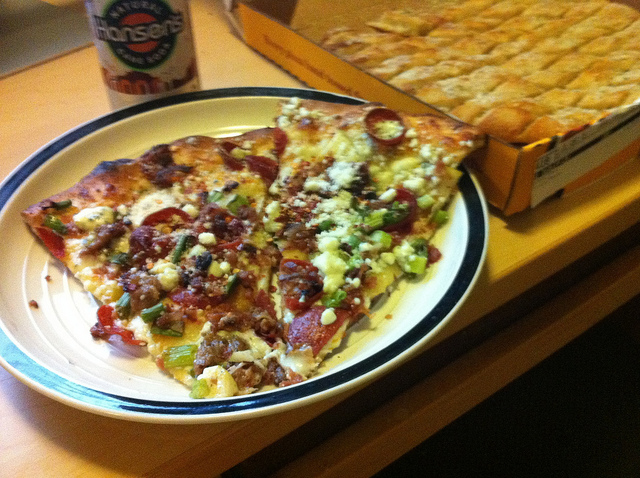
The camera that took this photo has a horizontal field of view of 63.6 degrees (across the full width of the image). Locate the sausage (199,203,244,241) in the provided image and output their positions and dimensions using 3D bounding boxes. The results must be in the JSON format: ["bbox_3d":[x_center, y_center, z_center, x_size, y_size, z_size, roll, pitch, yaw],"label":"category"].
[{"bbox_3d":[-0.241,-0.033,1.249,0.077,0.026,0.106,-34,70,-31],"label":"sausage"}]

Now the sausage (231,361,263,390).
[{"bbox_3d":[-0.145,0.274,1.032,0.052,0.020,0.051,-32,49,-33],"label":"sausage"}]

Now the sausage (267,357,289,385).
[{"bbox_3d":[-0.088,0.270,1.051,0.036,0.011,0.046,-19,60,-15],"label":"sausage"}]

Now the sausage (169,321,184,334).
[{"bbox_3d":[-0.309,0.188,1.109,0.028,0.009,0.025,10,64,3],"label":"sausage"}]

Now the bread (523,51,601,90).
[{"bbox_3d":[0.734,-0.500,1.544,0.221,0.021,0.092,-27,51,-21],"label":"bread"}]

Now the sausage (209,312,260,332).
[{"bbox_3d":[-0.185,0.181,1.112,0.104,0.023,0.038,-5,65,-5],"label":"sausage"}]

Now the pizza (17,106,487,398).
[{"bbox_3d":[-0.162,-0.069,1.238,0.835,0.149,0.901,33,67,14],"label":"pizza"}]

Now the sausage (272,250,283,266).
[{"bbox_3d":[-0.095,0.046,1.228,0.035,0.006,0.029,2,59,-13],"label":"sausage"}]

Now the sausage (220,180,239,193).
[{"bbox_3d":[-0.228,-0.133,1.309,0.038,0.013,0.037,25,53,27],"label":"sausage"}]

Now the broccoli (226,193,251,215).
[{"bbox_3d":[-0.201,-0.087,1.273,0.057,0.015,0.051,40,69,-1],"label":"broccoli"}]

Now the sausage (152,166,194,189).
[{"bbox_3d":[-0.379,-0.158,1.329,0.080,0.011,0.063,-10,43,1],"label":"sausage"}]

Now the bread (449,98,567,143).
[{"bbox_3d":[0.500,-0.315,1.382,0.255,0.039,0.150,17,44,14],"label":"bread"}]

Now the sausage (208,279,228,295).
[{"bbox_3d":[-0.226,0.108,1.147,0.039,0.009,0.031,1,40,-15],"label":"sausage"}]

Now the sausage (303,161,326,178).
[{"bbox_3d":[-0.010,-0.179,1.339,0.058,0.009,0.037,-23,55,-7],"label":"sausage"}]

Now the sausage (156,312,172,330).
[{"bbox_3d":[-0.335,0.178,1.104,0.030,0.008,0.032,26,57,10],"label":"sausage"}]

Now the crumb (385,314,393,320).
[{"bbox_3d":[0.156,0.172,1.142,0.014,0.005,0.015,37,68,15],"label":"crumb"}]

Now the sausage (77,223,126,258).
[{"bbox_3d":[-0.508,0.001,1.212,0.106,0.026,0.061,-40,70,-13],"label":"sausage"}]

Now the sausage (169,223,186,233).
[{"bbox_3d":[-0.351,-0.026,1.244,0.027,0.006,0.025,-30,43,-31],"label":"sausage"}]

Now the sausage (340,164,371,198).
[{"bbox_3d":[0.096,-0.144,1.291,0.058,0.020,0.084,38,76,19],"label":"sausage"}]

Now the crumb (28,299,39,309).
[{"bbox_3d":[-0.633,0.144,1.133,0.021,0.005,0.017,25,36,-3],"label":"crumb"}]

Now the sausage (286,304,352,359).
[{"bbox_3d":[-0.012,0.187,1.105,0.095,0.030,0.130,30,66,12],"label":"sausage"}]

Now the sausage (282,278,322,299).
[{"bbox_3d":[-0.042,0.110,1.147,0.065,0.012,0.050,17,48,24],"label":"sausage"}]

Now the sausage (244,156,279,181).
[{"bbox_3d":[-0.152,-0.188,1.374,0.095,0.019,0.050,24,69,3],"label":"sausage"}]

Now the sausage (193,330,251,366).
[{"bbox_3d":[-0.203,0.228,1.078,0.107,0.027,0.077,2,64,-1],"label":"sausage"}]

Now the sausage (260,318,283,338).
[{"bbox_3d":[-0.106,0.194,1.114,0.048,0.013,0.038,22,66,-6],"label":"sausage"}]

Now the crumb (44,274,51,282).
[{"bbox_3d":[-0.633,0.092,1.188,0.016,0.004,0.012,12,50,-10],"label":"crumb"}]
